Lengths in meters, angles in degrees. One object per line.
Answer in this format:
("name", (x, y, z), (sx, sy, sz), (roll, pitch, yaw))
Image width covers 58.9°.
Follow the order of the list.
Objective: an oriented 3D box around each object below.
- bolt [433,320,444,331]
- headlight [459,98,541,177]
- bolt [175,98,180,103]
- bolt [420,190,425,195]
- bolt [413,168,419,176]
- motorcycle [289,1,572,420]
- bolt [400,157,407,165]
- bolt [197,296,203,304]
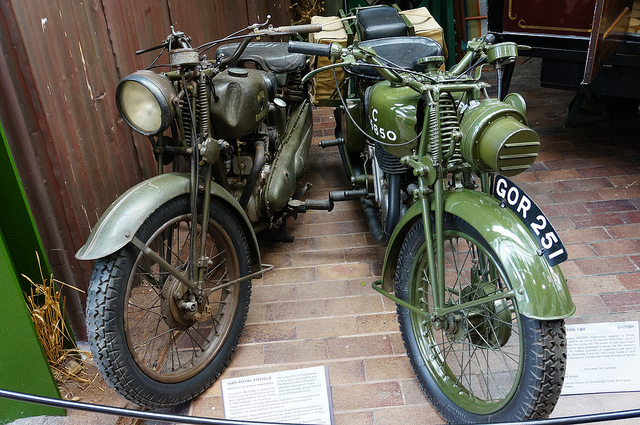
("bolt", (0.647, 0.618, 3.085), (0.050, 0.042, 0.016), (-9, -5, 31))
("headlight", (0.892, -0.356, 2.831), (0.376, 0.274, 0.266), (3, 32, 14))
("bolt", (-0.777, -0.606, 3.086), (0.010, 0.024, 0.037), (5, 34, 17))
("bolt", (0.555, -0.107, 3.063), (0.021, 0.024, 0.007), (0, 0, 4))
("bolt", (0.530, -0.220, 3.109), (0.020, 0.029, 0.040), (-26, -6, -6))
("motorcycle", (0.736, -0.414, 3.901), (1.222, 1.876, 3.379), (-5, 34, 2))
("bolt", (0.486, -0.300, 3.295), (0.035, 0.056, 0.016), (-2, -1, 20))
("bolt", (-0.689, 0.501, 3.243), (0.030, 0.034, 0.009), (-2, 8, -29))
